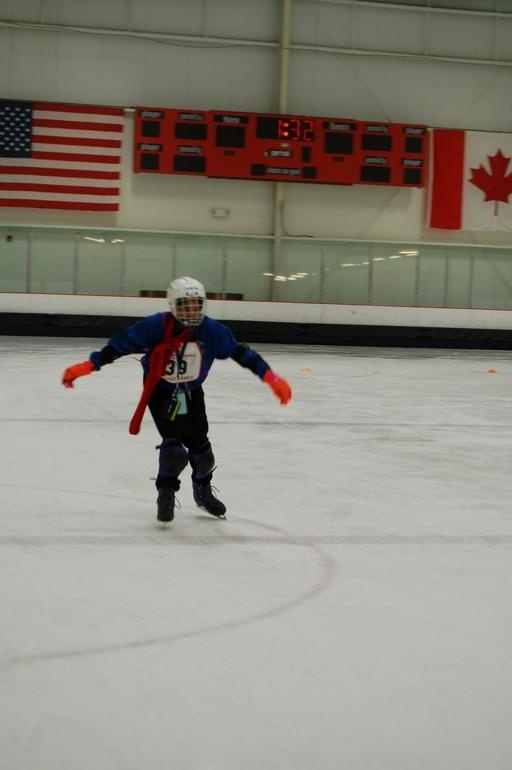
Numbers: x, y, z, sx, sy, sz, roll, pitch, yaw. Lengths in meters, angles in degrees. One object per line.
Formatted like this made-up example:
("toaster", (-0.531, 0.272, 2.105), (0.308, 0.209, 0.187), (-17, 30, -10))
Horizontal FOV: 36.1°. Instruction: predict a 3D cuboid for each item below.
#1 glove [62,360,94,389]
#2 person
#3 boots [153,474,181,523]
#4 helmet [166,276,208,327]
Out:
("glove", (-0.676, -0.041, 2.975), (0.114, 0.115, 0.292), (1, 4, -14))
("person", (-0.299, 0.112, 2.943), (0.749, 0.780, 0.374), (-1, 6, -30))
("boots", (-0.325, 0.409, 2.832), (0.064, 0.167, 0.080), (3, -16, 1))
("helmet", (-0.253, -0.307, 2.852), (0.147, 0.166, 0.177), (-4, 11, -14))
